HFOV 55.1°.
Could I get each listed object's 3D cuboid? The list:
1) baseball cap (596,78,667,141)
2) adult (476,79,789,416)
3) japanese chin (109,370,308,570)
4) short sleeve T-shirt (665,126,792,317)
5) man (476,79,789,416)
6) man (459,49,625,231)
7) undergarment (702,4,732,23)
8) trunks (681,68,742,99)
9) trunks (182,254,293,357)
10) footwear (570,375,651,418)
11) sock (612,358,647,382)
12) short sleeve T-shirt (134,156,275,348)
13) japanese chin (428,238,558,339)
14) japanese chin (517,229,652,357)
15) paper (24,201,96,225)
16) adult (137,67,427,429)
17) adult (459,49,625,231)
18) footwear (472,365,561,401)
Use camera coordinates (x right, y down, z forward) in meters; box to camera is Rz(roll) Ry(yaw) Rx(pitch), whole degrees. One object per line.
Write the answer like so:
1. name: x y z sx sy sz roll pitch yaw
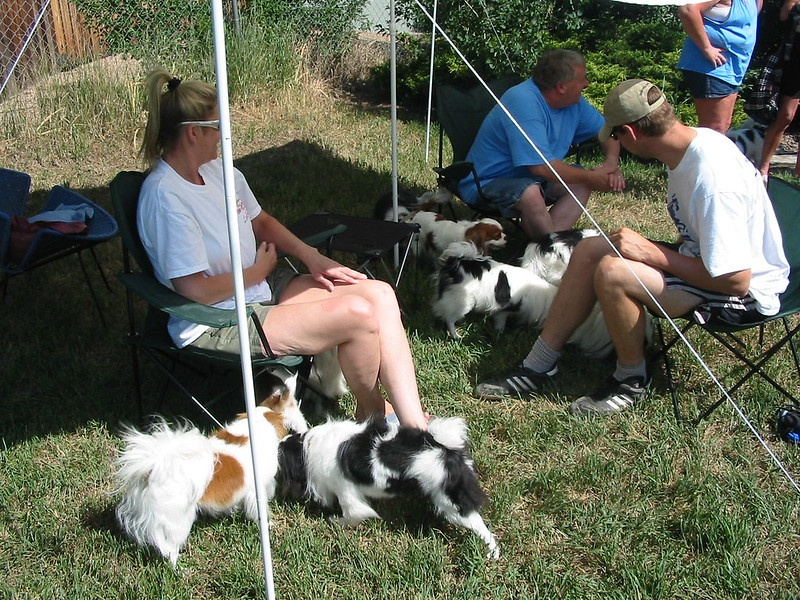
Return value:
1. baseball cap: 1.201 -1.035 4.182 0.357 0.203 0.275 -23 22 47
2. adult: 1.343 -0.287 4.451 1.688 1.919 1.172 -3 16 -1
3. japanese chin: -0.925 0.848 3.878 0.349 0.723 1.053 13 15 43
4. short sleeve T-shirt: 1.763 -0.408 4.116 0.750 0.843 0.513 16 24 17
5. man: 1.338 -0.298 4.478 1.618 1.918 1.180 -2 16 0
6. man: 1.076 -1.101 5.918 1.319 1.653 1.106 8 24 14
7. undergarment: 2.464 -2.213 5.983 0.128 0.131 0.161 -28 19 -39
8. trunks: 2.531 -1.750 6.325 0.336 0.235 0.288 7 42 18
9. trunks: -0.929 0.129 4.129 0.494 0.551 0.167 -2 3 4
10. footwear: 1.215 0.567 4.560 0.522 0.236 0.205 -13 48 3
11. sock: 1.324 0.389 4.509 0.220 0.161 0.084 9 23 30
12. short sleeve T-shirt: -1.023 -0.220 3.899 0.392 0.814 0.728 3 32 19
13. japanese chin: 0.680 -0.036 5.316 0.991 0.656 0.339 9 28 2
14. japanese chin: 1.110 -0.056 5.283 0.946 0.565 0.581 38 64 22
15. paper: -2.153 -0.551 4.921 0.221 0.087 0.228 10 18 35
16. adult: -0.560 -0.125 4.120 1.642 2.035 0.908 4 21 8
17. adult: 1.060 -1.106 5.925 1.264 1.621 1.200 4 23 5
18. footwear: 0.699 0.477 4.727 0.501 0.222 0.181 -1 16 -9
